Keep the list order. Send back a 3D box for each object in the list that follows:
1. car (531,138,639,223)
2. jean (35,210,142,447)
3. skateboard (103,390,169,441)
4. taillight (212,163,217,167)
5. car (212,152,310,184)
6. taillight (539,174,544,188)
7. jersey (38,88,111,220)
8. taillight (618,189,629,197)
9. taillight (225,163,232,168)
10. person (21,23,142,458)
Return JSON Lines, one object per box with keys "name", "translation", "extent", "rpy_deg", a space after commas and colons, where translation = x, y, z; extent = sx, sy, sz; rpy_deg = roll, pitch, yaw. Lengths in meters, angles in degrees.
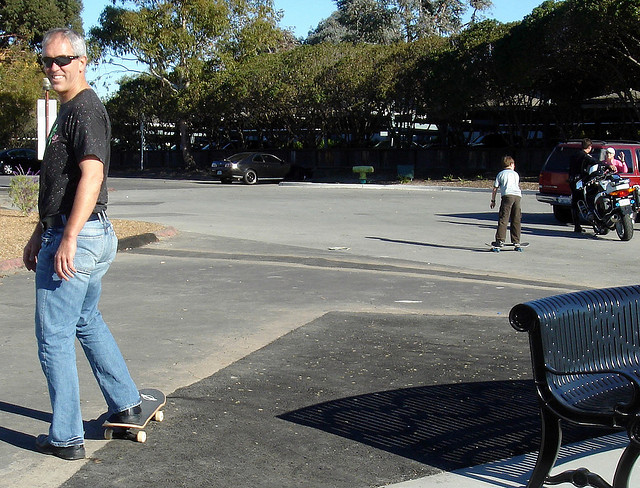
{"name": "car", "translation": [7.385, -1.718, 18.383], "extent": [3.391, 1.739, 1.865], "rpy_deg": [-9, 10, -37]}
{"name": "jean", "translation": [-1.502, 0.541, 4.467], "extent": [0.327, 1.508, 0.588], "rpy_deg": [8, 10, 44]}
{"name": "skateboard", "translation": [-1.211, 1.191, 4.785], "extent": [0.156, 0.103, 0.580], "rpy_deg": [6, 9, 11]}
{"name": "taillight", "translation": [-5.365, -4.068, 35.890], "extent": [0.263, 0.283, 0.141], "rpy_deg": [0, -6, -2]}
{"name": "car", "translation": [-2.841, -4.057, 37.198], "extent": [5.855, 1.620, 1.805], "rpy_deg": [-6, 11, -41]}
{"name": "taillight", "translation": [5.799, -1.652, 18.177], "extent": [0.078, 0.352, 0.293], "rpy_deg": [3, 8, 12]}
{"name": "jersey", "translation": [-1.550, -0.560, 4.351], "extent": [0.463, 0.838, 0.332], "rpy_deg": [0, 8, -4]}
{"name": "taillight", "translation": [6.441, -1.085, 14.723], "extent": [0.252, 0.148, 0.069], "rpy_deg": [-2, 8, -18]}
{"name": "taillight", "translation": [-4.559, -3.908, 35.265], "extent": [0.316, 0.311, 0.166], "rpy_deg": [0, -2, -4]}
{"name": "person", "translation": [-1.530, -0.039, 4.451], "extent": [0.661, 2.718, 0.911], "rpy_deg": [-2, 8, -23]}
